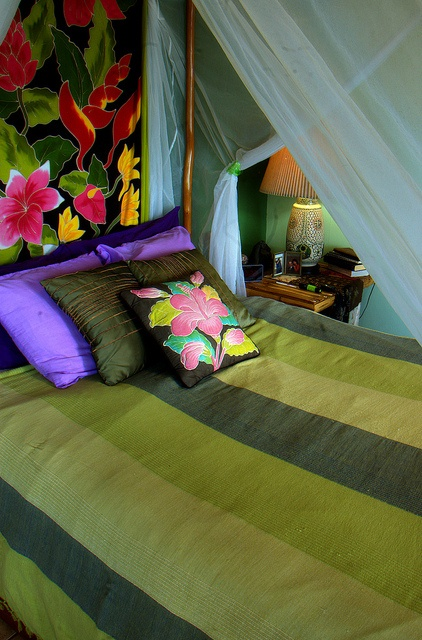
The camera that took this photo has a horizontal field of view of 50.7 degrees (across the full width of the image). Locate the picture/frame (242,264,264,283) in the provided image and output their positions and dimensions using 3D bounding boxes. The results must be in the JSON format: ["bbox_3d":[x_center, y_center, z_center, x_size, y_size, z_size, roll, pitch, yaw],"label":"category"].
[{"bbox_3d":[0.252,-0.294,2.700,0.088,0.118,0.167,11,16,42],"label":"picture/frame"}]

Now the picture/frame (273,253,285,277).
[{"bbox_3d":[0.410,-0.337,2.691,0.011,0.153,0.124,10,17,34],"label":"picture/frame"}]

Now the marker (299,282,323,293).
[{"bbox_3d":[0.552,-0.183,2.504,0.145,0.047,0.046,24,2,29],"label":"marker"}]

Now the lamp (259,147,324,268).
[{"bbox_3d":[0.551,-0.657,2.676,0.424,0.676,0.338,-8,13,-29],"label":"lamp"}]

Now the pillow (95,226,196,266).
[{"bbox_3d":[-0.291,-0.323,1.993,0.265,0.081,0.228,-22,57,-24],"label":"pillow"}]
